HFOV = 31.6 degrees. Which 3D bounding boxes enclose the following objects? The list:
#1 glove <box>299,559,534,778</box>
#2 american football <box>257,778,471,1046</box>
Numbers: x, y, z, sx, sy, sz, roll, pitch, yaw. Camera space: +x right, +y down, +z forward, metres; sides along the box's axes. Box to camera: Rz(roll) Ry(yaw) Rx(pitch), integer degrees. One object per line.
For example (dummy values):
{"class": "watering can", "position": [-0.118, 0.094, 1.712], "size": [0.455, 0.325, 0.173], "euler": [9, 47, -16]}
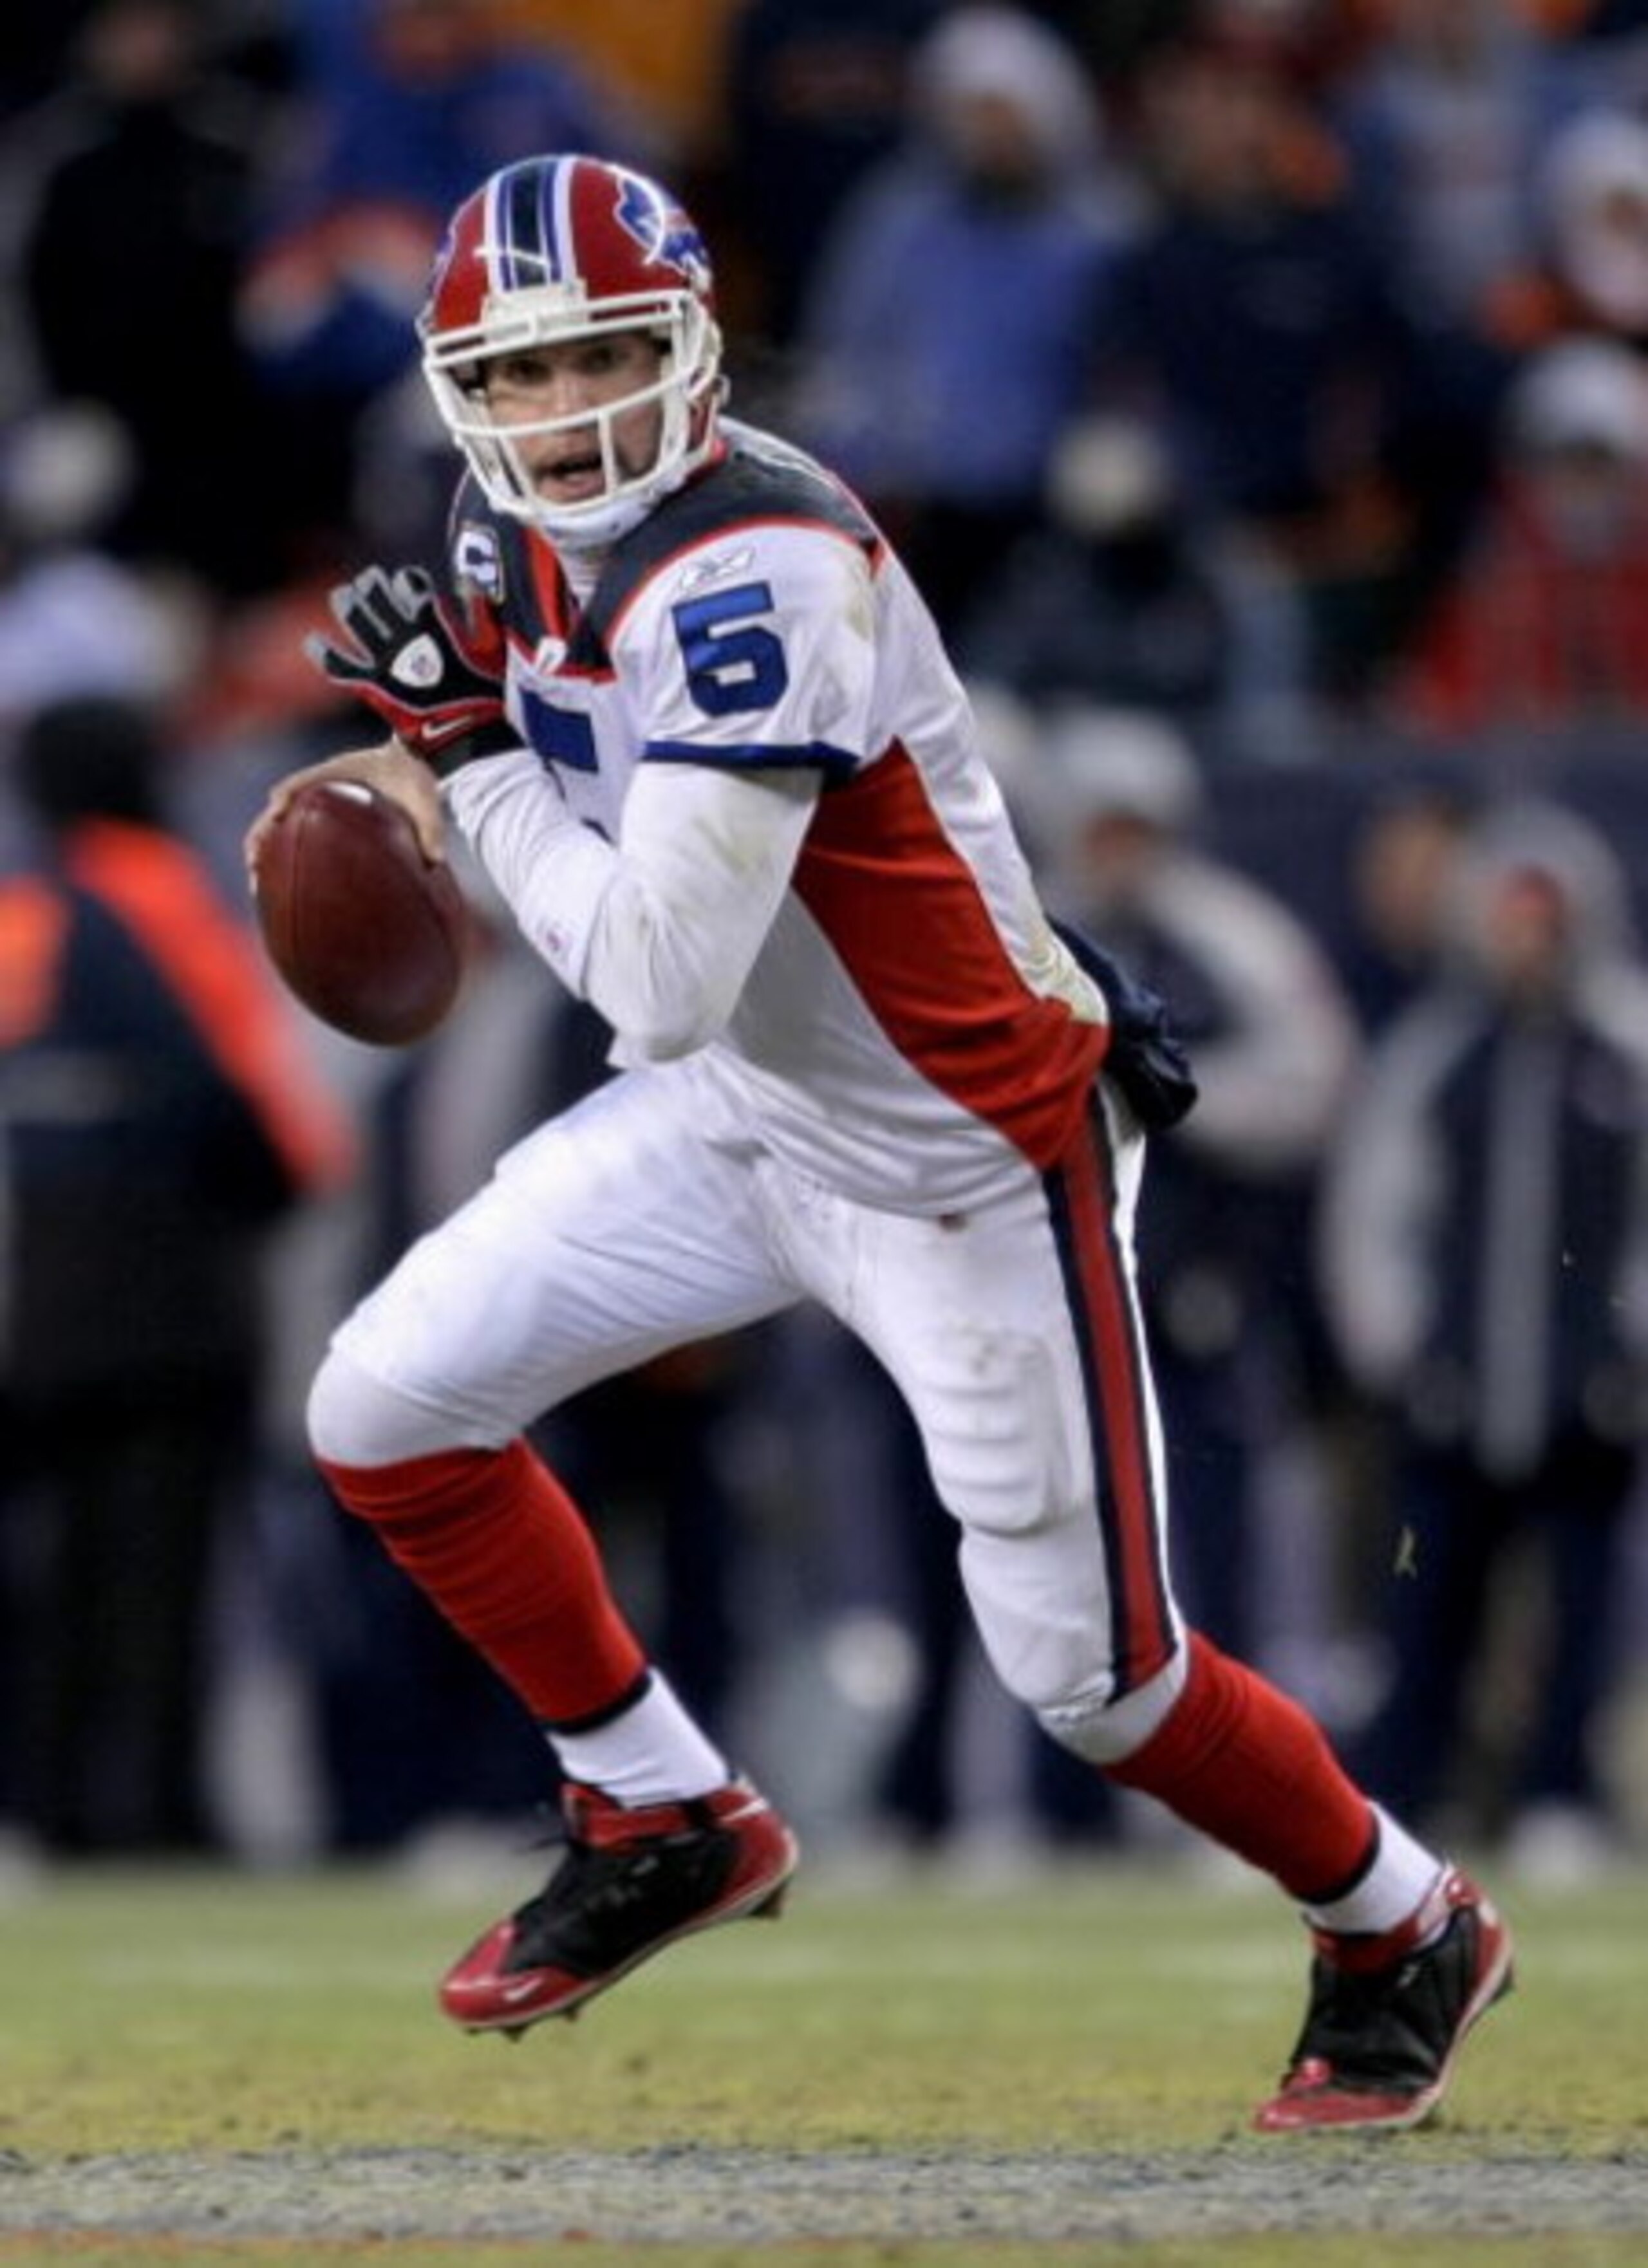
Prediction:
{"class": "glove", "position": [-0.345, -0.407, 2.523], "size": [0.208, 0.073, 0.146], "euler": [37, 99, 3]}
{"class": "american football", "position": [-0.401, -0.190, 2.579], "size": [0.179, 0.218, 0.148], "euler": [-10, 18, 47]}
